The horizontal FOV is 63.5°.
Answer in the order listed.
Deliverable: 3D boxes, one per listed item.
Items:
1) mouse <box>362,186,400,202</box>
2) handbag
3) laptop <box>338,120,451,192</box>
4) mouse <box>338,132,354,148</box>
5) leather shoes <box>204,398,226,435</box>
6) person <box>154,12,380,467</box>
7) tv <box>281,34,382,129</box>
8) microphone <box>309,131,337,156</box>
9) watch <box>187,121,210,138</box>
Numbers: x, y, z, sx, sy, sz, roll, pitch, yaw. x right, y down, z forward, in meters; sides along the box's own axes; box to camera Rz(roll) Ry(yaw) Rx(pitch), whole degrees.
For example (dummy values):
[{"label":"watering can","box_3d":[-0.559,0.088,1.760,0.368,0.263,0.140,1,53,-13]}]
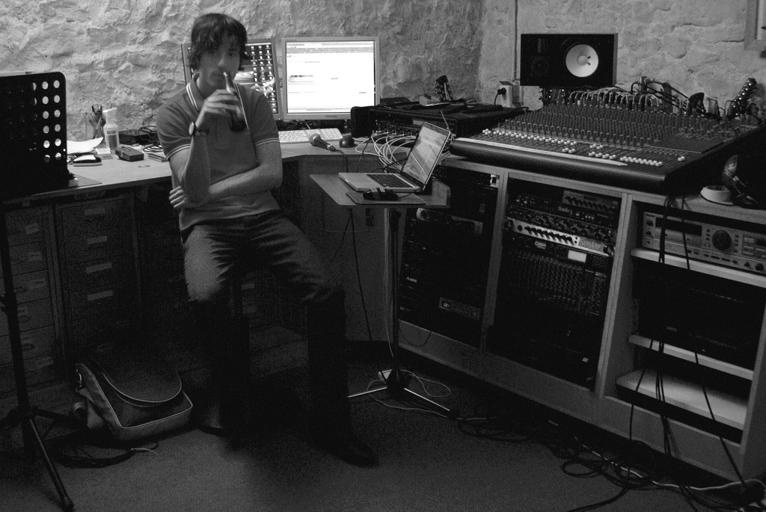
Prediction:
[{"label":"mouse","box_3d":[-0.010,-0.292,2.862,0.132,0.040,0.075,-5,25,-18]},{"label":"handbag","box_3d":[-1.262,0.707,3.127,0.757,0.239,0.547,33,20,31]},{"label":"laptop","box_3d":[0.038,-0.506,3.147,0.515,0.304,0.525,-3,16,-16]},{"label":"mouse","box_3d":[-0.216,-0.675,3.619,0.059,0.051,0.111,2,27,4]},{"label":"leather shoes","box_3d":[-0.860,0.814,3.134,0.121,0.038,0.163,-20,37,-9]},{"label":"person","box_3d":[-0.610,-0.131,2.986,0.777,1.917,1.091,-7,22,-19]},{"label":"tv","box_3d":[-0.321,-1.092,3.855,0.675,0.486,0.087,-1,11,-5]},{"label":"microphone","box_3d":[-0.343,-0.651,3.583,0.112,0.069,0.186,-17,48,-24]},{"label":"watch","box_3d":[-0.858,-0.584,2.865,0.098,0.061,0.097,12,10,8]}]
